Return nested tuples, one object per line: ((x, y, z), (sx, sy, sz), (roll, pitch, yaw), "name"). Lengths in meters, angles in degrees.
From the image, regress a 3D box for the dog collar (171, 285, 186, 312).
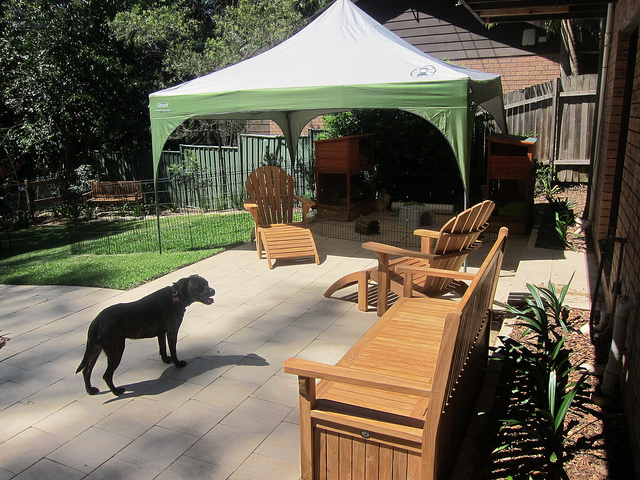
((-1.329, 0.538, 4.038), (0.139, 0.195, 0.099), (5, 30, 27), "dog collar")

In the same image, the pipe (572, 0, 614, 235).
((4.516, -1.870, 7.134), (0.250, 3.645, 0.994), (5, 16, 31), "pipe")

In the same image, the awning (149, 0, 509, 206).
((0.065, -2.640, 7.211), (4.400, 2.799, 4.699), (2, 16, 14), "awning")

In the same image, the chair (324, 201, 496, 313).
((1.092, 0.179, 5.298), (1.276, 1.391, 1.888), (-10, 15, -41), "chair")

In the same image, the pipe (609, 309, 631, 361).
((2.267, 0.714, 3.286), (0.090, 0.380, 0.203), (7, 17, 36), "pipe")

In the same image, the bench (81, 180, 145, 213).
((-6.994, -1.475, 14.567), (2.334, 0.935, 0.825), (-1, 14, 11), "bench")

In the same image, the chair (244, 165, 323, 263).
((-0.704, -0.491, 7.857), (1.079, 1.380, 1.973), (-8, 26, -11), "chair")
